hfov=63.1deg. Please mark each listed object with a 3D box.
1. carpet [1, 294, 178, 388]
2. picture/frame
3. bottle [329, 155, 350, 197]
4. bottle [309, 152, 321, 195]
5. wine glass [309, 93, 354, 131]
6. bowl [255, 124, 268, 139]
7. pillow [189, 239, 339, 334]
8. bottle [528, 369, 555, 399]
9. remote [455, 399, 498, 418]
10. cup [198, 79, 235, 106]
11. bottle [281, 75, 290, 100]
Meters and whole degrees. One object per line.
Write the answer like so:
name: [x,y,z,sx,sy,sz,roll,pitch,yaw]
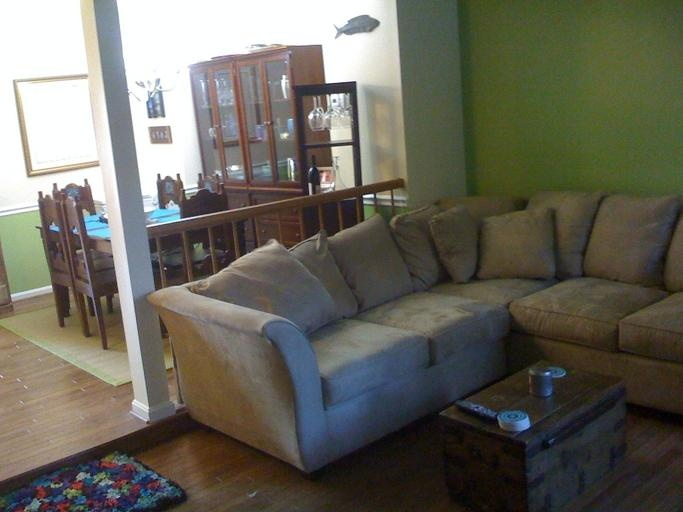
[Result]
carpet: [-2.117,0.684,4.654,1.364,0.010,0.574,13,17,42]
picture/frame: [-3.027,-1.392,5.930,0.849,0.967,0.063,-6,2,6]
bottle: [-0.055,-0.770,5.167,0.282,0.298,0.305,-5,14,-5]
bottle: [-0.248,-0.729,4.958,0.111,0.342,0.170,-5,17,3]
wine glass: [-0.087,-1.268,4.844,0.307,0.252,0.121,6,24,24]
bowl: [-0.771,-1.198,5.451,0.158,0.147,0.154,0,2,0]
pillow: [-0.443,0.231,3.214,0.483,0.480,0.686,8,20,40]
bottle: [0.903,0.586,2.579,0.123,0.102,0.116,-5,0,-5]
remote: [0.597,0.661,2.482,0.057,0.048,0.205,-6,6,-34]
cup: [-1.282,-1.708,5.778,0.354,0.220,0.205,7,13,36]
bottle: [-0.515,-1.550,5.116,0.028,0.218,0.115,-17,20,-30]
